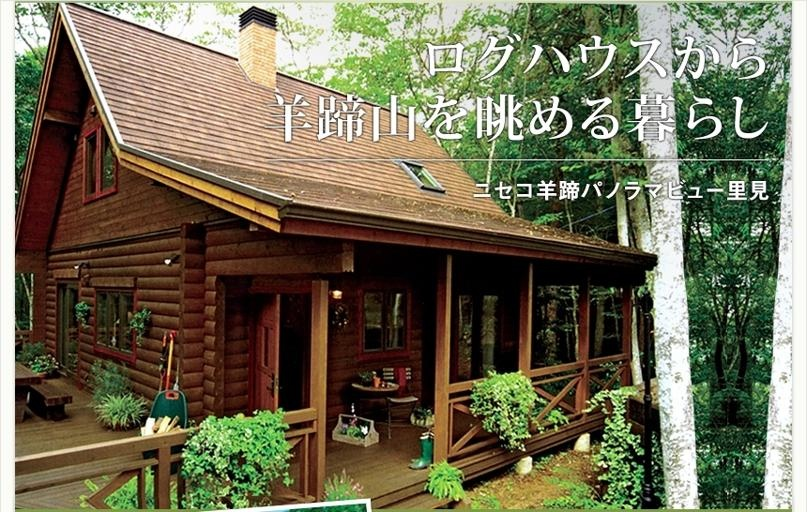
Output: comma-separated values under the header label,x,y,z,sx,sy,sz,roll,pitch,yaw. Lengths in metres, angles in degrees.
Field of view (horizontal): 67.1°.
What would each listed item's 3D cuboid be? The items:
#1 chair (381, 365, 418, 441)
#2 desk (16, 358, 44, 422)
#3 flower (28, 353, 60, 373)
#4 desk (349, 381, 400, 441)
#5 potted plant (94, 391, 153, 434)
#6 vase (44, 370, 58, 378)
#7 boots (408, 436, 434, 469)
label,x,y,z,sx,sy,sz,roll,pitch,yaw
chair,-0.031,3.482,14.581,0.955,1.377,1.085,0,2,-30
desk,-9.355,3.418,15.087,0.529,1.359,1.662,4,-9,-32
flower,-11.057,3.342,18.766,0.616,0.436,0.613,5,-1,10
desk,-0.682,3.585,14.598,1.275,1.072,1.202,3,-3,-26
potted plant,-6.685,3.730,14.526,1.004,0.573,0.987,4,-9,16
vase,-10.805,3.596,18.630,0.370,0.275,0.257,7,-11,-44
boots,0.338,4.039,12.639,0.441,0.666,0.590,2,-8,-19
